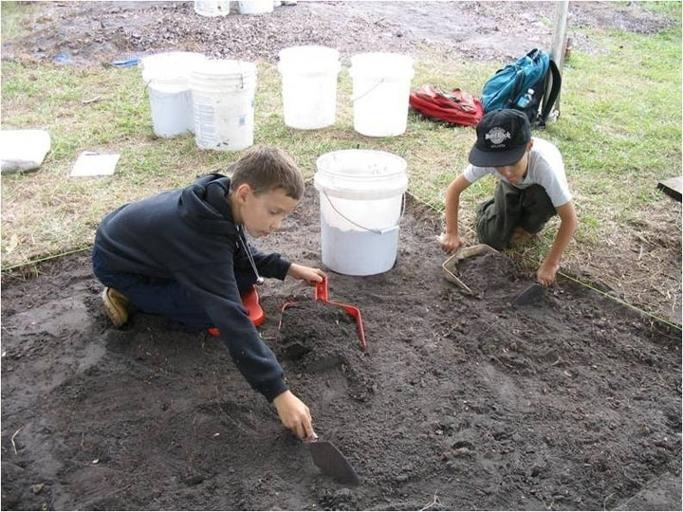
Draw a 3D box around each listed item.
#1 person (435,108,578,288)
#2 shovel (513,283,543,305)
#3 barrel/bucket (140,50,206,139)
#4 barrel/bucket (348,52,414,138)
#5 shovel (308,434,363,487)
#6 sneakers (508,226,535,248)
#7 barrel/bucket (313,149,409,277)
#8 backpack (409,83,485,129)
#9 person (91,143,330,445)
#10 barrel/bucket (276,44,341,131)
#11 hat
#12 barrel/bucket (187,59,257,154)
[{"bbox_3d":[1.148,-0.353,4.024,0.817,1.151,1.032,26,56,36],"label":"person"},{"bbox_3d":[1.179,0.252,3.596,0.184,0.109,0.043,-38,15,-10],"label":"shovel"},{"bbox_3d":[-1.580,-1.597,5.627,0.585,0.684,0.770,6,28,0],"label":"barrel/bucket"},{"bbox_3d":[0.366,-1.582,5.654,0.613,0.689,0.562,0,35,0],"label":"barrel/bucket"},{"bbox_3d":[-0.055,1.006,2.868,0.310,0.144,0.051,33,17,25],"label":"shovel"},{"bbox_3d":[1.259,-0.125,4.036,0.123,0.164,0.170,6,57,-12],"label":"sneakers"},{"bbox_3d":[0.108,-0.292,3.980,0.650,0.737,0.656,2,25,-1],"label":"barrel/bucket"},{"bbox_3d":[1.080,-1.536,5.881,0.732,0.272,0.609,23,28,0],"label":"backpack"},{"bbox_3d":[-0.677,0.067,3.159,1.547,1.161,0.758,21,40,26],"label":"person"},{"bbox_3d":[-0.384,-1.661,5.882,0.741,0.773,0.778,1,39,-1],"label":"barrel/bucket"},{"bbox_3d":[0.974,-0.682,3.542,0.341,0.387,0.288,12,37,16],"label":"hat"},{"bbox_3d":[-1.142,-1.441,5.411,0.693,0.776,0.758,4,29,-2],"label":"barrel/bucket"}]
